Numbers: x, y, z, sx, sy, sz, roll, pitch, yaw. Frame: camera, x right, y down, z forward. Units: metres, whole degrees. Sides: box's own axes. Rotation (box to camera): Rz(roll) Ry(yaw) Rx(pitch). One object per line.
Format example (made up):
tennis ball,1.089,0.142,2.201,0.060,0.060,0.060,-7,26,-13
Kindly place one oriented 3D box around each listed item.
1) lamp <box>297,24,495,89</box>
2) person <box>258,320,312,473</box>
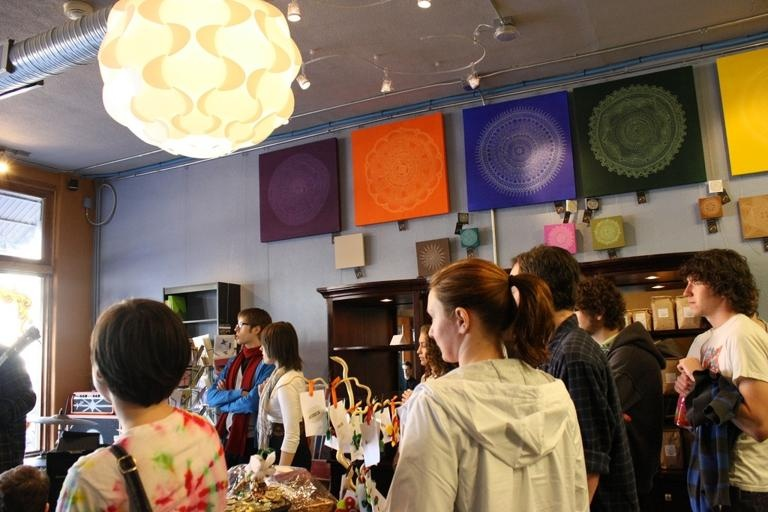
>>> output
lamp,0.310,-1.758,5.033,1.640,0.257,0.799,-5,-4,12
person,-0.773,1.093,4.210,0.371,1.146,0.625,-2,-4,-22
